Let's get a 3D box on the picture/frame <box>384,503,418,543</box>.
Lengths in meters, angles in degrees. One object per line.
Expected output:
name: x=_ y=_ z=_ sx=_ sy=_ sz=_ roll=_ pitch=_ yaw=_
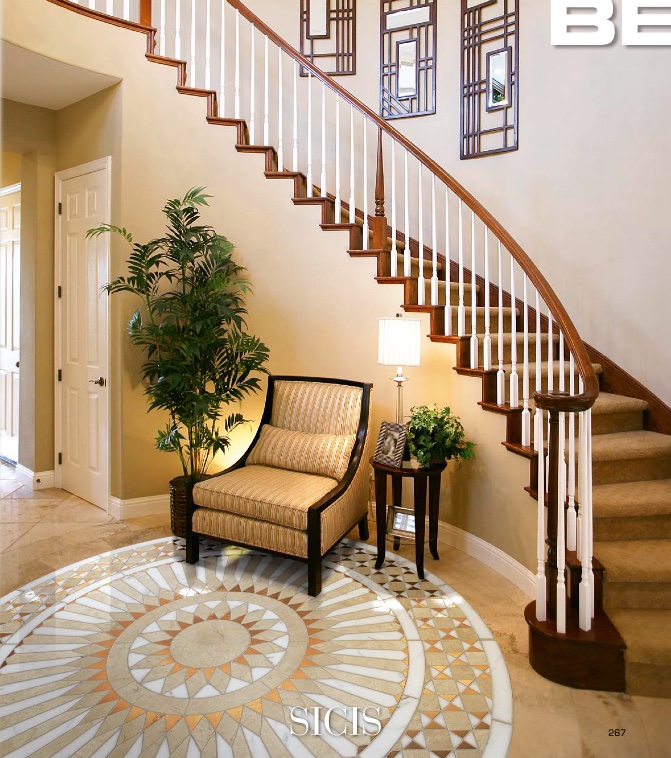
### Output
picture/frame: x=0.345 y=0.828 z=3.883 sx=0.166 sy=0.174 sz=0.039 roll=-1 pitch=-10 yaw=42

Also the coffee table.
coffee table: x=0.404 y=0.775 z=3.892 sx=0.408 sy=0.594 sz=0.421 roll=3 pitch=9 yaw=11

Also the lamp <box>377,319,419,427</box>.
lamp: x=0.394 y=-0.030 z=4.111 sx=0.241 sy=0.675 sz=0.532 roll=1 pitch=9 yaw=7

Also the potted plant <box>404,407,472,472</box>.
potted plant: x=0.551 y=0.333 z=3.817 sx=0.296 sy=0.344 sz=0.312 roll=-4 pitch=1 yaw=1
